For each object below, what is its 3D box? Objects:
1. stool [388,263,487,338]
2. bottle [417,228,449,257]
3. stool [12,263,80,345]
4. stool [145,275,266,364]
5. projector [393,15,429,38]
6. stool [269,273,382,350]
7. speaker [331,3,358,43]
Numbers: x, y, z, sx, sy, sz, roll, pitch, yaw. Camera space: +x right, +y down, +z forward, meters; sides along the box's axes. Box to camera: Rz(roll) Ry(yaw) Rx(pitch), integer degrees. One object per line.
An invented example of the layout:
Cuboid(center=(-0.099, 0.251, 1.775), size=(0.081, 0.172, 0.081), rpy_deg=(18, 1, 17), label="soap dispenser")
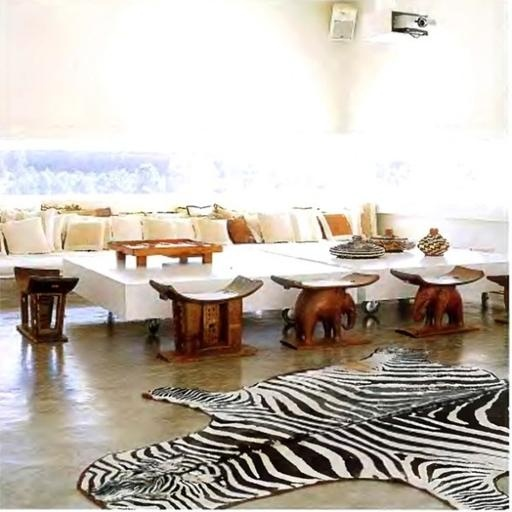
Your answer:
Cuboid(center=(1.388, 0.349, 3.944), size=(0.526, 0.502, 0.744), rpy_deg=(4, 5, 41), label="stool")
Cuboid(center=(1.661, -0.138, 4.841), size=(0.321, 0.215, 0.292), rpy_deg=(0, 11, 0), label="bottle")
Cuboid(center=(-1.539, 0.365, 3.635), size=(0.386, 0.407, 0.552), rpy_deg=(4, 1, -35), label="stool")
Cuboid(center=(-0.342, 0.403, 3.276), size=(0.734, 0.418, 0.350), rpy_deg=(-3, 3, -31), label="stool")
Cuboid(center=(1.413, -2.133, 4.637), size=(0.282, 0.107, 0.254), rpy_deg=(-6, 15, -28), label="projector")
Cuboid(center=(0.431, 0.371, 3.623), size=(0.764, 0.388, 0.534), rpy_deg=(-2, 5, -14), label="stool")
Cuboid(center=(1.163, -3.160, 6.800), size=(0.454, 0.430, 0.147), rpy_deg=(0, 16, -6), label="speaker")
